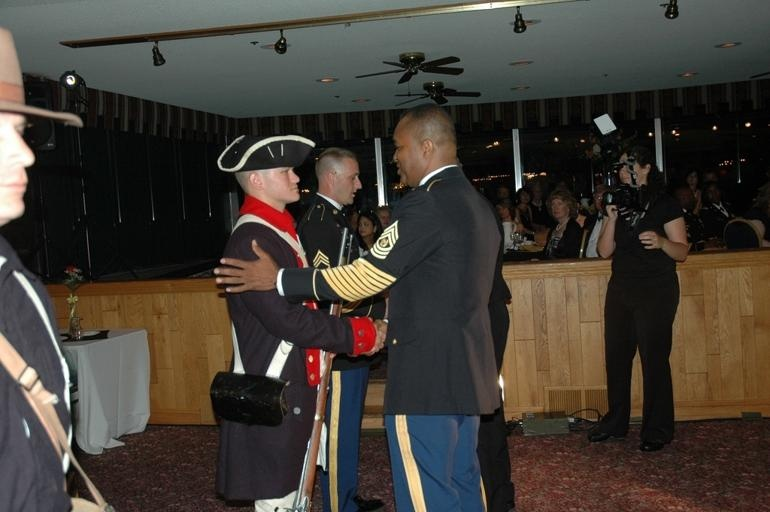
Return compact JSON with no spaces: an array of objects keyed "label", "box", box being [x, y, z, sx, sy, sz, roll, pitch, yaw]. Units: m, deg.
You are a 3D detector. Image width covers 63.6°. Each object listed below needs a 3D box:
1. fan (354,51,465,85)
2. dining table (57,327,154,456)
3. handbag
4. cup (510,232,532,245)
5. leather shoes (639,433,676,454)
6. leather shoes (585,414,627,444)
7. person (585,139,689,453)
[{"label":"fan","box":[0.374,-2.157,7.026,0.704,0.166,0.811,1,0,27]},{"label":"dining table","box":[-2.473,1.087,5.224,0.877,0.836,0.813,4,5,19]},{"label":"handbag","box":[-0.656,0.683,3.043,0.350,0.213,0.180,4,28,10]},{"label":"cup","box":[1.570,-0.202,7.215,0.307,0.145,0.255,3,-3,3]},{"label":"leather shoes","box":[1.958,1.361,4.515,0.257,0.104,0.105,-10,-7,14]},{"label":"leather shoes","box":[1.680,1.327,4.706,0.301,0.137,0.159,2,-5,-6]},{"label":"person","box":[1.858,0.316,4.544,0.589,2.162,0.611,3,16,24]}]
